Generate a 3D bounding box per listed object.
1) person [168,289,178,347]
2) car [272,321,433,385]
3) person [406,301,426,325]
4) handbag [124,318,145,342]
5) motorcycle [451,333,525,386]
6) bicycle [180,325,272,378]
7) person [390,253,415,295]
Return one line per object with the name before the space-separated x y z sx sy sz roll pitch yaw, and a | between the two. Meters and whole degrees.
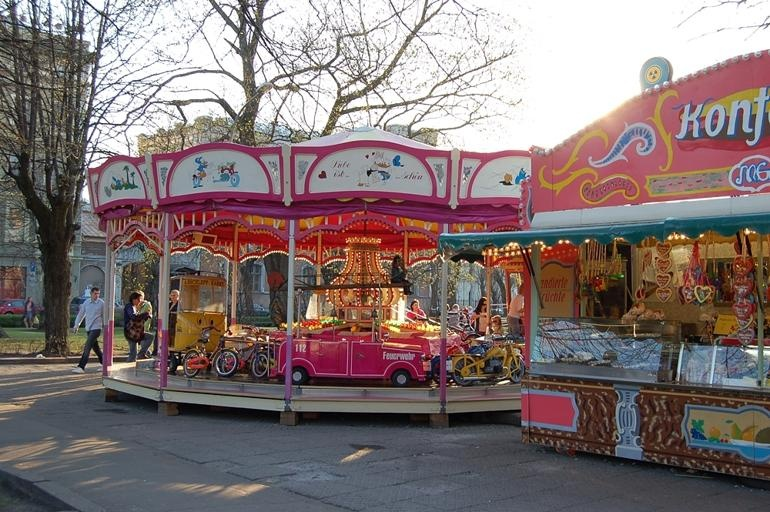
person | -5.090 1.457 16.267 0.187 1.342 0.652 0 1 -18
car | -0.473 2.133 14.699 3.016 1.242 0.647 1 1 0
person | 0.852 1.450 17.919 0.559 0.839 0.463 -1 -15 -9
handbag | -6.356 1.875 17.184 0.461 0.603 0.326 1 1 -11
motorcycle | 2.269 2.300 15.202 1.906 1.036 0.826 -1 -1 -21
bicycle | -3.596 2.230 15.507 2.484 1.341 1.013 -1 -15 6
person | 0.388 0.433 16.004 0.532 0.865 0.373 -2 -8 -18
